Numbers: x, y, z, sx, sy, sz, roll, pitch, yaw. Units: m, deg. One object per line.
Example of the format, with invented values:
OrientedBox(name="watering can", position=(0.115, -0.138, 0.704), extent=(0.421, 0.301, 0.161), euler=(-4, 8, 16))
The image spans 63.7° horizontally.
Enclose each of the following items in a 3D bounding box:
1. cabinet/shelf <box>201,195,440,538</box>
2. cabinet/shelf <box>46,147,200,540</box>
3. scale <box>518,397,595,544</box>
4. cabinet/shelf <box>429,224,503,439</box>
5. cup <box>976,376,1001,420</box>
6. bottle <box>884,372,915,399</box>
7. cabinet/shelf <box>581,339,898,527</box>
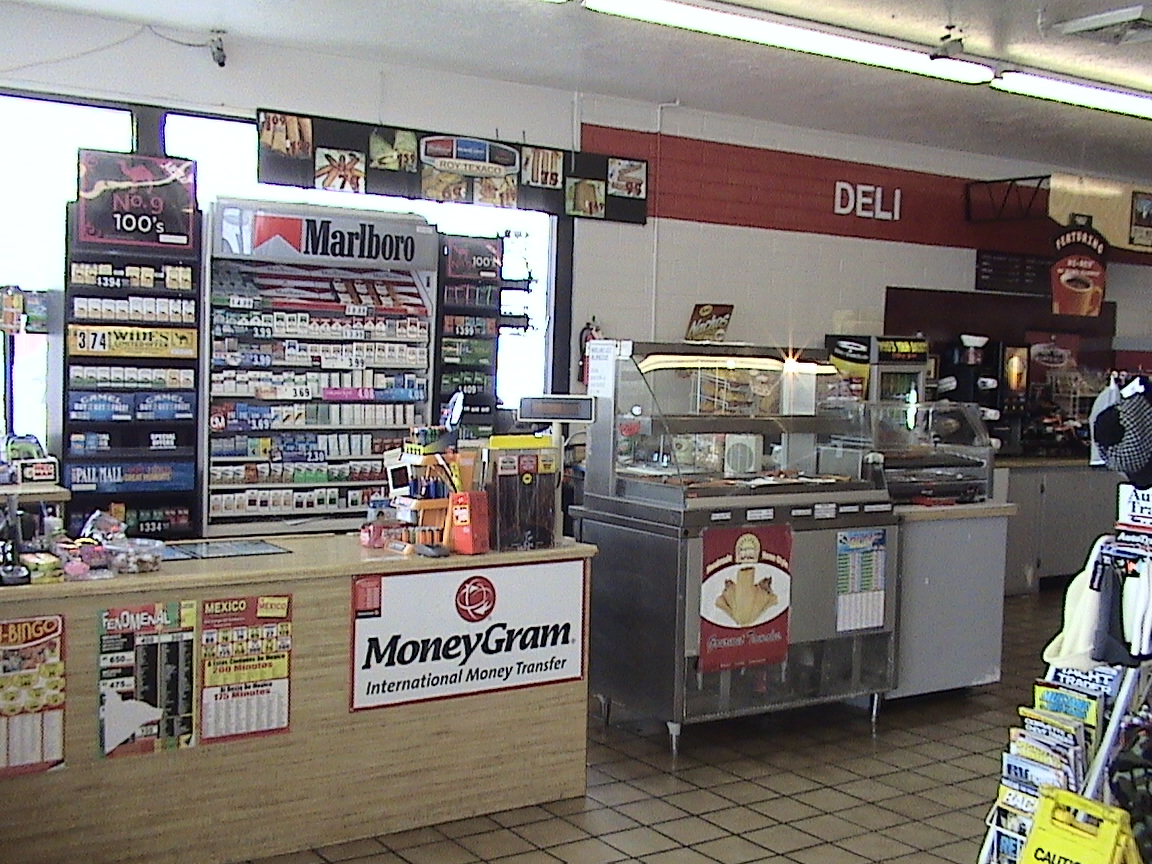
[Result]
OrientedBox(name="cabinet/shelf", position=(-2.149, -0.539, 7.852), extent=(1.836, 2.690, 0.576), euler=(0, 6, -24))
OrientedBox(name="cabinet/shelf", position=(-3.483, -0.651, 7.328), extent=(1.009, 3.007, 0.361), euler=(0, 6, -25))
OrientedBox(name="scale", position=(-0.097, 0.207, 5.506), extent=(0.451, 0.871, 0.223), euler=(1, 4, 9))
OrientedBox(name="cabinet/shelf", position=(-0.982, -0.882, 8.501), extent=(0.687, 1.807, 0.347), euler=(0, 6, -20))
OrientedBox(name="cup", position=(4.479, -0.342, 10.069), extent=(0.265, 0.476, 0.528), euler=(5, 6, 24))
OrientedBox(name="bottle", position=(3.308, -0.480, 9.548), extent=(0.326, 0.315, 0.077), euler=(3, 2, -16))
OrientedBox(name="cabinet/shelf", position=(0.785, -0.072, 6.233), extent=(1.808, 1.173, 1.031), euler=(-1, -1, -29))
